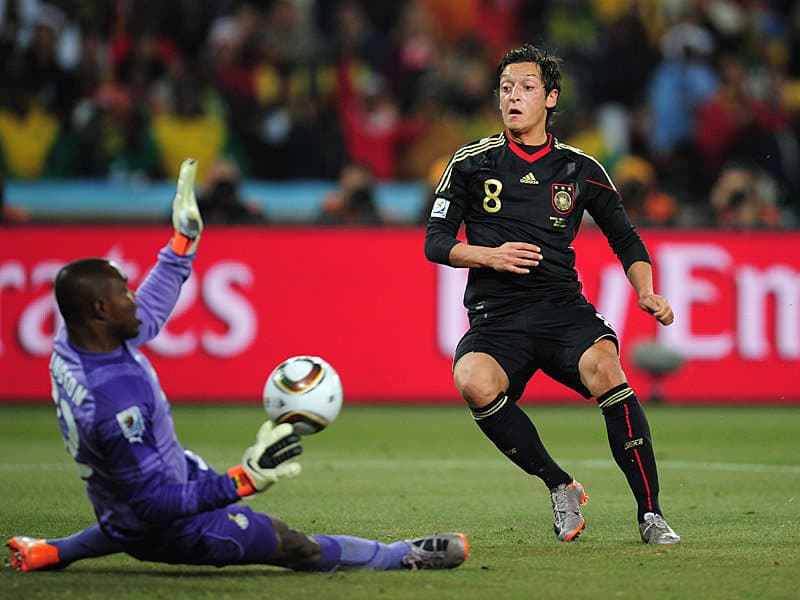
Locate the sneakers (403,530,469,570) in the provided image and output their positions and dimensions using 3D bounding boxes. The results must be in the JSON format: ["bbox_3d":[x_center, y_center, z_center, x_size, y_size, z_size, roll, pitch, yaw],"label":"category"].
[{"bbox_3d":[0.196,1.345,6.412,0.281,0.130,0.185,-3,28,4],"label":"sneakers"}]

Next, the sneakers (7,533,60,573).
[{"bbox_3d":[-1.972,1.360,6.406,0.214,0.090,0.177,6,40,1],"label":"sneakers"}]

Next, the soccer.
[{"bbox_3d":[-0.518,0.516,6.421,0.425,0.397,0.409,4,-5,-19],"label":"soccer"}]

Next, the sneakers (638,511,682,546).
[{"bbox_3d":[1.521,1.350,6.988,0.119,0.122,0.271,-3,-6,-15],"label":"sneakers"}]
